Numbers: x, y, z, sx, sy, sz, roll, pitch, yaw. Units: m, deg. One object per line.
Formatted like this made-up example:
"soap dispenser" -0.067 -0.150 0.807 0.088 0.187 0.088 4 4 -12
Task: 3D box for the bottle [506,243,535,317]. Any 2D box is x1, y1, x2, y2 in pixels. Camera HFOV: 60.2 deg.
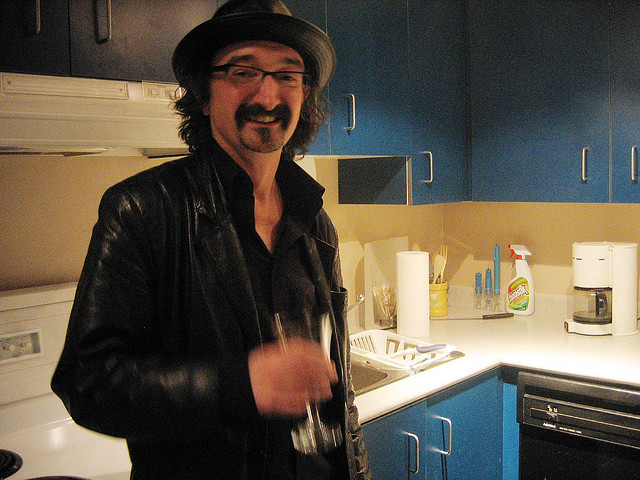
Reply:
"bottle" 0.972 0.197 2.748 0.074 0.346 0.176 -4 7 -31

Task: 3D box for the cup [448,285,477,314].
"cup" 0.760 0.298 2.965 0.143 0.128 0.124 1 6 10

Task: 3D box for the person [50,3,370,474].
"person" -0.192 0.040 1.362 0.605 1.227 0.677 0 6 6

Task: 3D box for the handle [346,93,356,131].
"handle" 0.116 -0.474 2.045 0.022 0.136 0.055 5 8 43

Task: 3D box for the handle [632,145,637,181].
"handle" 1.240 -0.307 2.190 0.017 0.140 0.012 3 7 31

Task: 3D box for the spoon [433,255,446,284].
"spoon" 0.598 0.119 2.756 0.033 0.202 0.027 16 -27 11

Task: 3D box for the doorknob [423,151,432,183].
"doorknob" 0.462 -0.316 2.376 0.056 0.134 0.015 -5 7 -37

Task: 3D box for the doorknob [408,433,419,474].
"doorknob" 0.320 0.724 1.877 0.046 0.152 0.020 -3 6 -25

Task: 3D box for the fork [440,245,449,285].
"fork" 0.651 0.126 2.901 0.028 0.256 0.029 -5 -42 26

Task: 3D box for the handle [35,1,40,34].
"handle" -0.698 -0.552 1.369 0.013 0.077 0.027 -3 7 -26

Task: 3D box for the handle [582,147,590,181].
"handle" 1.096 -0.316 2.288 0.027 0.136 0.017 2 6 23

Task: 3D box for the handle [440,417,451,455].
"handle" 0.451 0.701 1.983 0.037 0.143 0.019 0 6 7

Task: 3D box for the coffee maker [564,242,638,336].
"coffee maker" 1.198 0.189 2.463 0.355 0.519 0.293 3 6 30
